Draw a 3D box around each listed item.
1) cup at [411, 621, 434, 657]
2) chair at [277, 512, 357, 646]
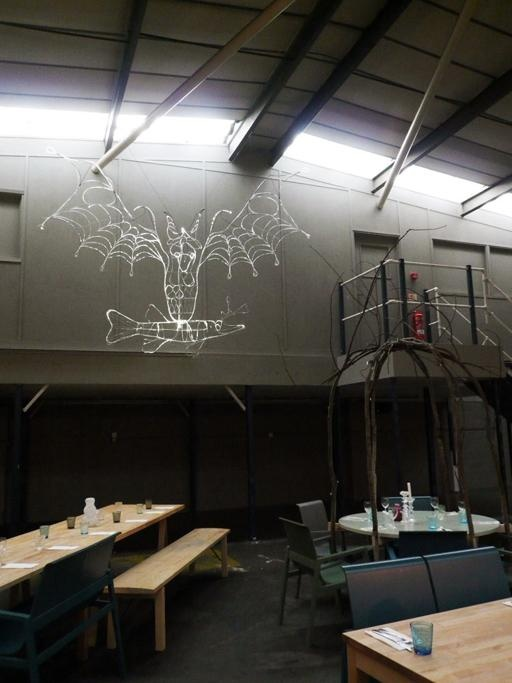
[{"bbox_3d":[0.503,0.899,1.541,0.059,0.087,0.083,-2,-10,18],"label":"cup"},{"bbox_3d":[0.468,1.664,3.603,0.484,0.790,0.439,4,-7,-29],"label":"chair"}]
